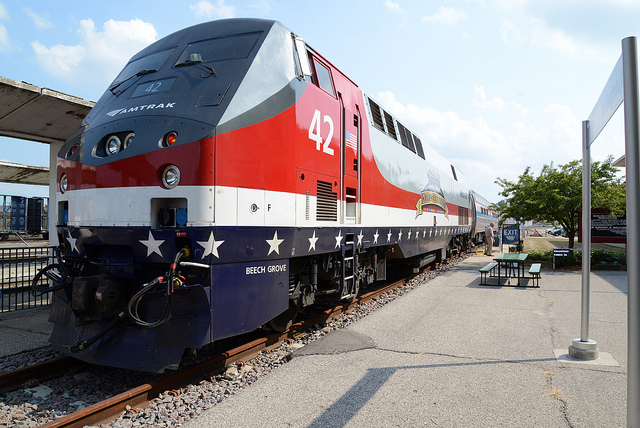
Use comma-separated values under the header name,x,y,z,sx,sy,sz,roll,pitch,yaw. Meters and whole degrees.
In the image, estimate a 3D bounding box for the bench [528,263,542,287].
name,x,y,z,sx,sy,sz,roll,pitch,yaw
bench,7.175,2.009,12.778,0.309,0.697,2.386,-2,-4,30

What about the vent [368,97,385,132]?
name,x,y,z,sx,sy,sz,roll,pitch,yaw
vent,1.415,-2.467,9.620,0.128,0.674,0.780,-2,-4,30

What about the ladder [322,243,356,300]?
name,x,y,z,sx,sy,sz,roll,pitch,yaw
ladder,0.380,1.182,7.983,0.575,1.181,0.656,1,1,30

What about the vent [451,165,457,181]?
name,x,y,z,sx,sy,sz,roll,pitch,yaw
vent,6.692,-2.003,19.072,0.161,0.620,0.920,-1,-4,25
